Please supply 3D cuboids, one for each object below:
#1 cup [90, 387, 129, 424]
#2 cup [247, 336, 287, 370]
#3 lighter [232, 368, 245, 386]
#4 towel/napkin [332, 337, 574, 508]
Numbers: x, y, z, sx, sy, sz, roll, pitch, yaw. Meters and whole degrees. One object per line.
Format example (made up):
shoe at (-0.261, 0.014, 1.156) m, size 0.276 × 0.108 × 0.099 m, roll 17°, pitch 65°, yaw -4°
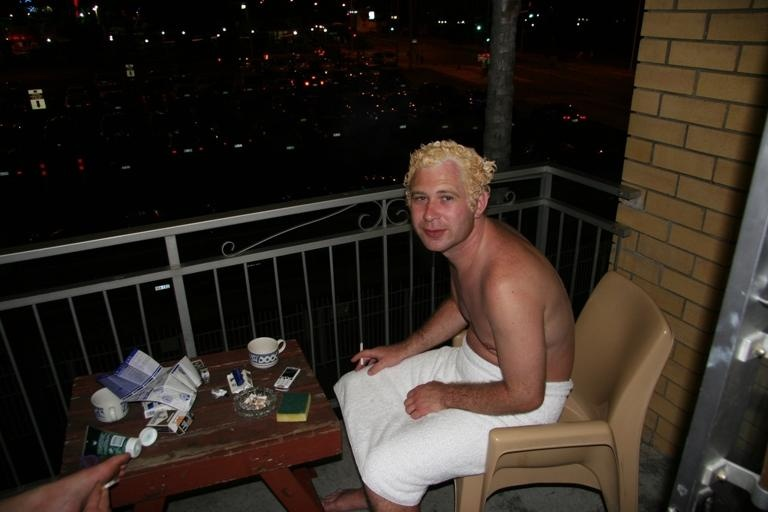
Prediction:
cup at (-1.346, 0.763, 2.385) m, size 0.141 × 0.101 × 0.168 m, roll -1°, pitch -16°, yaw -26°
cup at (-0.633, 0.526, 2.691) m, size 0.134 × 0.088 × 0.203 m, roll 11°, pitch 15°, yaw 42°
lighter at (-0.756, 0.619, 2.540) m, size 0.054 × 0.034 × 0.084 m, roll -8°, pitch 31°, yaw -15°
towel/napkin at (0.365, 0.892, 2.439) m, size 1.012 × 0.245 × 0.798 m, roll -15°, pitch 30°, yaw -7°
